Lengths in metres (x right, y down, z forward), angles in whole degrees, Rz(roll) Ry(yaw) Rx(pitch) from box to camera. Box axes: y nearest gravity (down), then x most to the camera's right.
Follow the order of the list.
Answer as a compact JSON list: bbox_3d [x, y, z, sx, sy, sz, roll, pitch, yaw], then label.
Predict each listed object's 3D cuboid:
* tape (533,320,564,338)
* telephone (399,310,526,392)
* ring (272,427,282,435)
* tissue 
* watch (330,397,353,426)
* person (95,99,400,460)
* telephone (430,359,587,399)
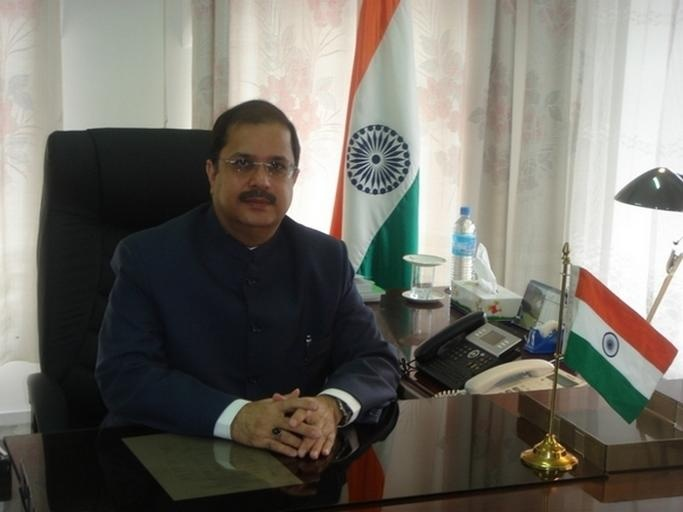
[{"bbox_3d":[0.659,0.229,1.750,0.066,0.046,0.085,6,12,27],"label":"tape"},{"bbox_3d":[0.351,0.227,1.615,0.288,0.108,0.212,-26,22,-22],"label":"telephone"},{"bbox_3d":[-0.142,0.382,1.183,0.020,0.005,0.030,-1,11,-6],"label":"ring"},{"bbox_3d":[0.643,0.101,2.431,0.146,0.254,0.288,-3,11,-20],"label":"tissue "},{"bbox_3d":[0.000,0.377,1.309,0.040,0.020,0.052,46,8,-45],"label":"watch"},{"bbox_3d":[-0.250,0.025,1.435,0.790,0.885,0.672,6,12,25],"label":"person"},{"bbox_3d":[0.444,0.330,1.427,0.193,0.054,0.138,-9,4,-8],"label":"telephone"}]
